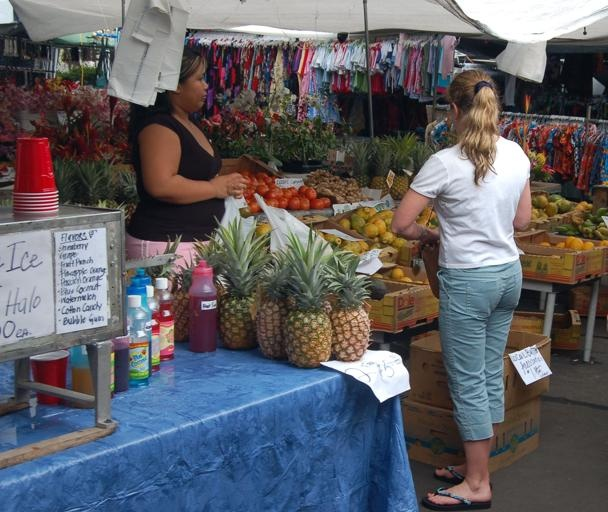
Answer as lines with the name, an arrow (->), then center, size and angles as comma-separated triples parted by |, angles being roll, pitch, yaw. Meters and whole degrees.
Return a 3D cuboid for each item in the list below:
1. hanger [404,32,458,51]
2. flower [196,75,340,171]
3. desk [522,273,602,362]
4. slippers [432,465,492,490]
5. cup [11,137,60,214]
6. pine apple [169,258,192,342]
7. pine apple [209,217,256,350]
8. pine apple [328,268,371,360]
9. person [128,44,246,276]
hanger -> 1.941, -3.262, 8.131 | 0.576, 0.206, 0.072 | -1, -32, 8
flower -> -0.429, -1.384, 5.609 | 1.992, 0.867, 0.909 | -17, 27, -39
desk -> 2.247, 0.534, 4.595 | 0.601, 0.658, 0.743 | 5, 16, 23
slippers -> 0.823, 1.137, 2.777 | 0.309, 0.075, 0.120 | 6, 19, 30
cup -> -0.611, -0.185, 1.214 | 0.092, 0.165, 0.108 | -1, 12, -27
pine apple -> -0.448, 0.178, 2.017 | 0.132, 0.284, 0.113 | -9, -3, -14
pine apple -> -0.247, 0.137, 1.958 | 0.193, 0.397, 0.176 | 4, -3, -30
pine apple -> 0.155, 0.212, 1.873 | 0.147, 0.291, 0.135 | -5, -3, -14
person -> -0.671, -0.533, 2.931 | 0.511, 1.180, 0.536 | 9, 11, 26
